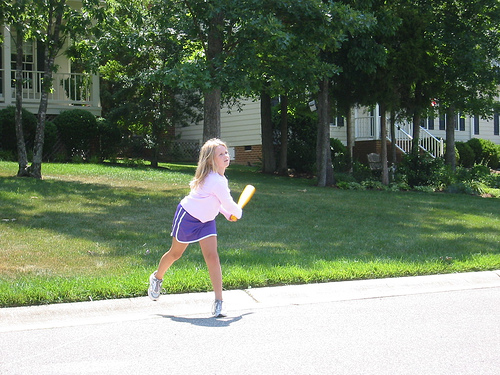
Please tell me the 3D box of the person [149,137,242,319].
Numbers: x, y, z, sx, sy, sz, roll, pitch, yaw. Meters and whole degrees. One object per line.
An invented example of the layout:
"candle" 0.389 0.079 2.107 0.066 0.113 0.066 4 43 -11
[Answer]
"person" -0.734 0.577 9.520 1.242 2.509 0.465 4 10 9
